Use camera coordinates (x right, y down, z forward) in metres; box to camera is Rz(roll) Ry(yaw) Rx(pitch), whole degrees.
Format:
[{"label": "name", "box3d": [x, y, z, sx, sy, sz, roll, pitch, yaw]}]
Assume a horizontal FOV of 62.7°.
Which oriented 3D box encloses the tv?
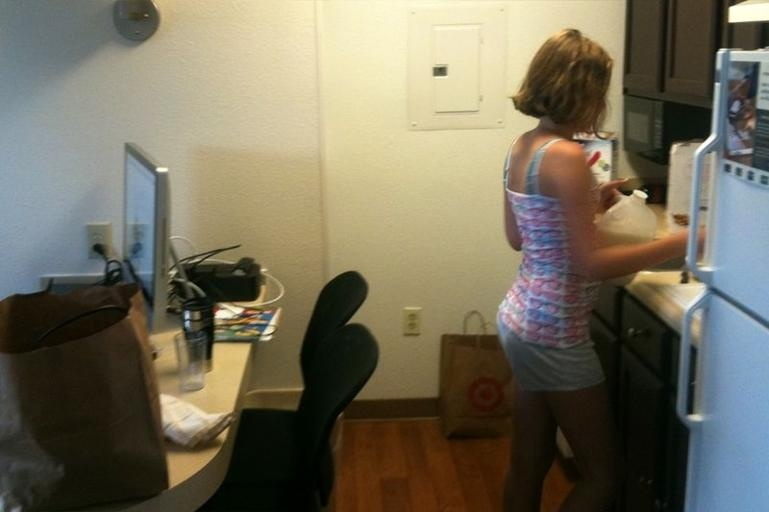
[{"label": "tv", "box3d": [-0.817, -0.037, 2.254, 0.261, 0.549, 0.832, 0, 11, -17]}]
